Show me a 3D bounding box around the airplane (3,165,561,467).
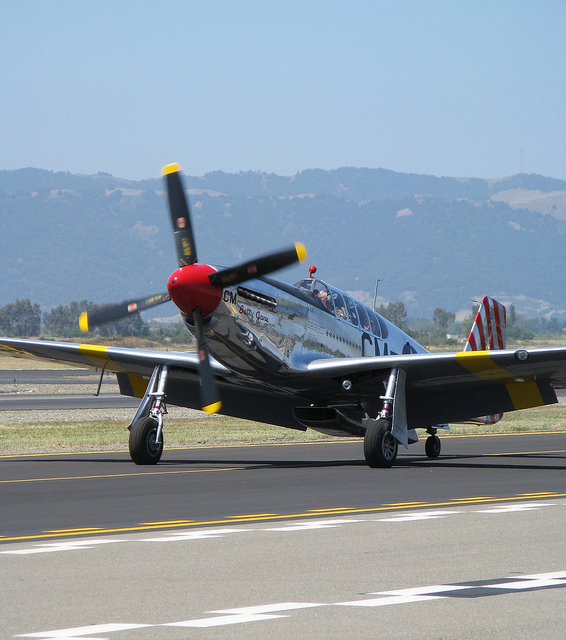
[{"bbox_3d":[0.657,0.260,16.317,9.207,4.874,7.591,1,1,-4],"label":"airplane"}]
